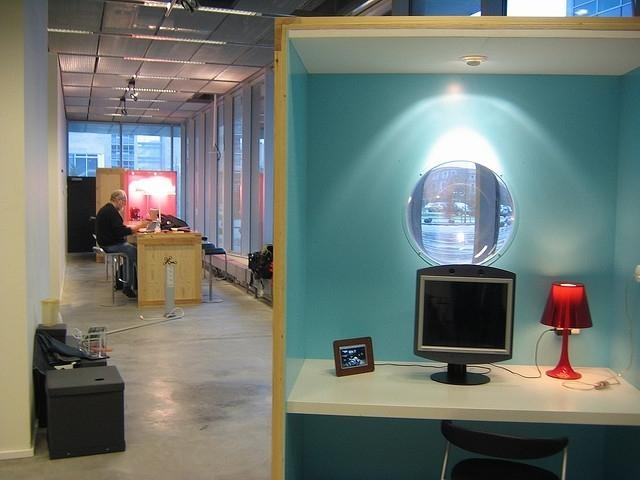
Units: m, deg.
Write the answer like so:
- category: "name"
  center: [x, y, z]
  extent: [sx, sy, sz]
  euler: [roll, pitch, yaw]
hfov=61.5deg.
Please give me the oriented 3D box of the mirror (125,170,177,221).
- category: "mirror"
  center: [-3.868, -1.038, 12.283]
  extent: [1.490, 1.414, 0.473]
  euler: [0, 1, -6]

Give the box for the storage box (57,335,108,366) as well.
- category: "storage box"
  center: [-1.983, 0.943, 4.520]
  extent: [0.344, 0.100, 0.255]
  euler: [11, -4, -19]

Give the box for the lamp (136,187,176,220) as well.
- category: "lamp"
  center: [-3.670, -0.855, 12.020]
  extent: [0.920, 0.850, 0.475]
  euler: [1, 26, -3]

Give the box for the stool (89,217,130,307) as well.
- category: "stool"
  center: [-3.390, 0.184, 8.995]
  extent: [0.616, 1.618, 1.214]
  euler: [-1, 7, -22]

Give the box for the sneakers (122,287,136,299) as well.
- category: "sneakers"
  center: [-3.289, 0.910, 9.318]
  extent: [0.141, 0.060, 0.309]
  euler: [-14, 22, -27]

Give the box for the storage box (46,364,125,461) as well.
- category: "storage box"
  center: [-1.648, 1.183, 4.004]
  extent: [0.677, 0.612, 0.541]
  euler: [-1, 0, -23]

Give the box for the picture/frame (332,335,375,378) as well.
- category: "picture/frame"
  center: [0.196, 0.679, 3.127]
  extent: [0.218, 0.172, 0.021]
  euler: [-1, -7, -22]

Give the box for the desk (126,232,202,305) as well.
- category: "desk"
  center: [-2.497, 0.396, 8.846]
  extent: [1.023, 1.203, 1.899]
  euler: [0, 0, -12]

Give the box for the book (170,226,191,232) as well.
- category: "book"
  center: [-2.333, -0.184, 9.025]
  extent: [0.157, 0.072, 0.207]
  euler: [2, -2, -41]
